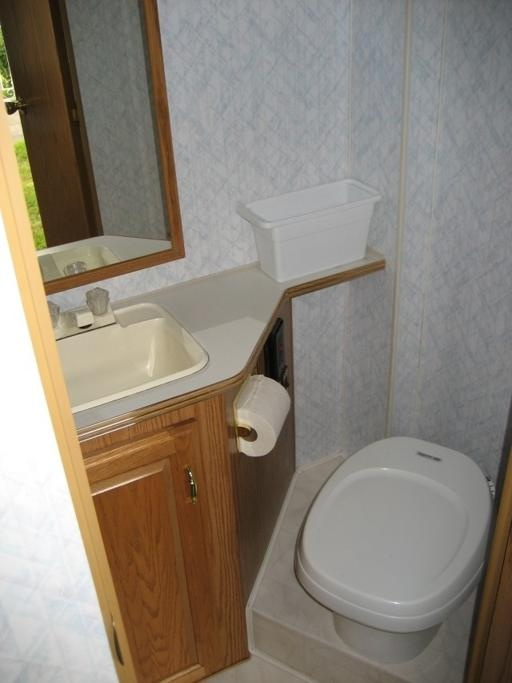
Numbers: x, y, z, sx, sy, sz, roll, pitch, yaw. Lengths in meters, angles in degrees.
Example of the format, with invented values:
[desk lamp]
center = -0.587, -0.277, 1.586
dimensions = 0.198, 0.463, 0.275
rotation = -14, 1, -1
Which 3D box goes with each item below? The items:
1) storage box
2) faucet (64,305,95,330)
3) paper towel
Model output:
[storage box]
center = 0.147, -0.288, 1.325
dimensions = 0.390, 0.220, 0.219
rotation = -10, 22, -15
[faucet]
center = -0.422, -0.057, 1.182
dimensions = 0.066, 0.039, 0.088
rotation = -13, 24, -20
[paper towel]
center = 0.010, 0.176, 1.158
dimensions = 0.123, 0.141, 0.166
rotation = 2, 26, 10
